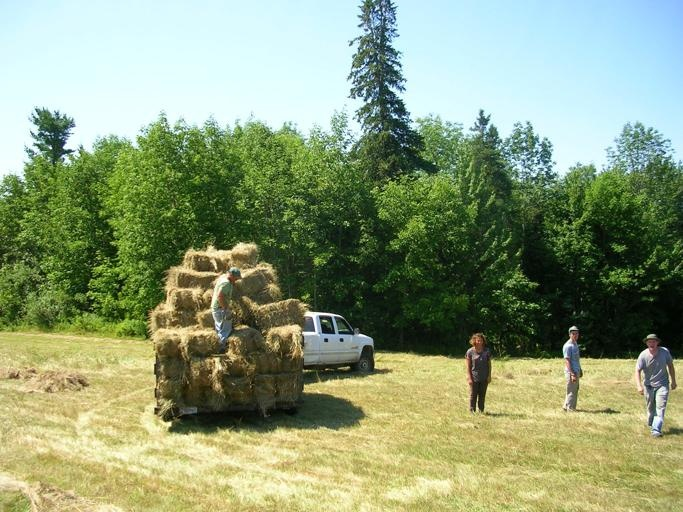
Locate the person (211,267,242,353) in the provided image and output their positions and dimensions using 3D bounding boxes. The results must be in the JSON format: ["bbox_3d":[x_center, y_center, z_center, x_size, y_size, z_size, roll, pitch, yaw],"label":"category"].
[{"bbox_3d":[-3.478,1.573,21.985,0.853,2.364,0.876,-2,10,-19],"label":"person"}]

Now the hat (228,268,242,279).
[{"bbox_3d":[-3.270,0.469,22.239,0.348,0.228,0.263,24,6,-27],"label":"hat"}]

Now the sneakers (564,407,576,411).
[{"bbox_3d":[7.181,4.793,22.865,0.132,0.064,0.185,1,-2,-23],"label":"sneakers"}]

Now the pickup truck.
[{"bbox_3d":[-0.325,3.313,28.061,3.061,1.650,1.663,2,-5,-43],"label":"pickup truck"}]

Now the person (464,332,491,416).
[{"bbox_3d":[4.282,3.627,22.745,0.719,2.415,0.599,3,9,12],"label":"person"}]
